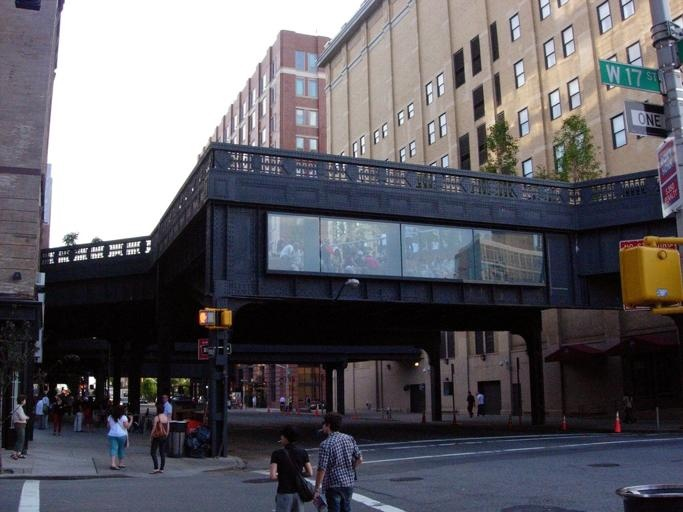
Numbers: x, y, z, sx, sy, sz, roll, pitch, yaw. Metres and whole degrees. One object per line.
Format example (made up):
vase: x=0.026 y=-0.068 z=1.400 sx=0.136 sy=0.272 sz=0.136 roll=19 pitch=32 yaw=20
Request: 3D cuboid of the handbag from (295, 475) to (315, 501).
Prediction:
handbag: x=-0.787 y=5.153 z=17.607 sx=0.361 sy=0.569 sz=0.284 roll=1 pitch=-14 yaw=-1

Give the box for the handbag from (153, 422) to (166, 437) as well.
handbag: x=-6.277 y=6.004 z=27.457 sx=0.492 sy=0.552 sz=0.257 roll=1 pitch=1 yaw=-20

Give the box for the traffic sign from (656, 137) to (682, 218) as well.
traffic sign: x=7.114 y=-1.755 z=17.262 sx=0.393 sy=2.002 sz=0.788 roll=-5 pitch=-15 yaw=21

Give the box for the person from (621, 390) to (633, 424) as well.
person: x=15.502 y=8.347 z=43.143 sx=0.478 sy=1.666 sz=3.326 roll=-4 pitch=-16 yaw=19

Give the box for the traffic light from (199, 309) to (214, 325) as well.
traffic light: x=-5.394 y=2.423 z=31.686 sx=0.557 sy=0.583 sz=0.559 roll=1 pitch=-2 yaw=-42

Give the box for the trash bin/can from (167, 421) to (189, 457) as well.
trash bin/can: x=-6.509 y=7.287 z=31.576 sx=0.722 sy=1.439 sz=0.844 roll=3 pitch=-14 yaw=-8
